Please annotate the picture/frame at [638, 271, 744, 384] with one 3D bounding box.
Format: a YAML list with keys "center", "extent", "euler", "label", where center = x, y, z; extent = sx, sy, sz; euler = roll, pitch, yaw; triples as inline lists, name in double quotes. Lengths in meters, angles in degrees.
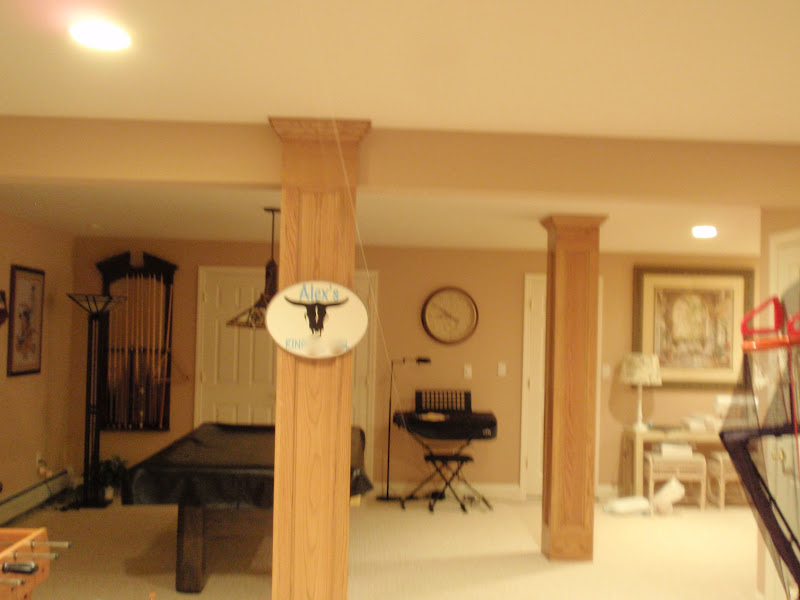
- center: [2.374, 0.270, 6.211]
  extent: [0.796, 1.000, 0.063]
  euler: [1, 0, 2]
  label: "picture/frame"

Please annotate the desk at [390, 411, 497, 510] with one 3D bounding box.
- center: [0.397, 1.269, 6.185]
  extent: [0.787, 0.793, 0.566]
  euler: [1, 8, 12]
  label: "desk"

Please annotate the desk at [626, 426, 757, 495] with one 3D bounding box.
- center: [2.260, 1.345, 6.146]
  extent: [0.706, 0.523, 0.543]
  euler: [0, -2, 10]
  label: "desk"

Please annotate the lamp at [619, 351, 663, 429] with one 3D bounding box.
- center: [1.956, 0.771, 6.167]
  extent: [0.405, 0.659, 0.416]
  euler: [-1, -3, 40]
  label: "lamp"

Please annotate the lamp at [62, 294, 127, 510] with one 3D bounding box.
- center: [-2.376, 0.733, 5.843]
  extent: [0.440, 1.575, 0.690]
  euler: [-2, 9, -21]
  label: "lamp"

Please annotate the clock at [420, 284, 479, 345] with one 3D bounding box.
- center: [0.385, 0.150, 6.277]
  extent: [0.413, 0.477, 0.059]
  euler: [-3, 2, -7]
  label: "clock"

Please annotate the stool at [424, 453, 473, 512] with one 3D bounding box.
- center: [0.372, 1.471, 6.119]
  extent: [0.331, 0.372, 0.354]
  euler: [4, -20, -11]
  label: "stool"

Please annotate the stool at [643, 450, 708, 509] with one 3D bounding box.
- center: [2.203, 1.419, 6.042]
  extent: [0.456, 0.469, 0.374]
  euler: [-1, 9, 19]
  label: "stool"

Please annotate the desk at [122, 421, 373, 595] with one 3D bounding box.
- center: [-1.129, 1.357, 4.611]
  extent: [0.924, 0.526, 1.364]
  euler: [1, -6, 3]
  label: "desk"
